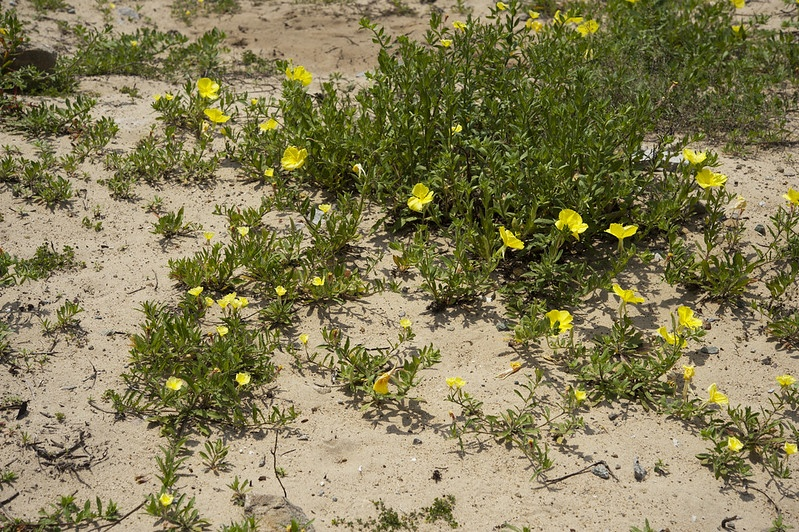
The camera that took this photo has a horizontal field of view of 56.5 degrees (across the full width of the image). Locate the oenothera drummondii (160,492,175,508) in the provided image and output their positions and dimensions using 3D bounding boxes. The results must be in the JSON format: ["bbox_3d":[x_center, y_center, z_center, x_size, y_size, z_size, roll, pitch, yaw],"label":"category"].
[{"bbox_3d":[-1.691,1.695,5.413,0.103,0.062,0.099,18,17,38],"label":"oenothera drummondii"}]
